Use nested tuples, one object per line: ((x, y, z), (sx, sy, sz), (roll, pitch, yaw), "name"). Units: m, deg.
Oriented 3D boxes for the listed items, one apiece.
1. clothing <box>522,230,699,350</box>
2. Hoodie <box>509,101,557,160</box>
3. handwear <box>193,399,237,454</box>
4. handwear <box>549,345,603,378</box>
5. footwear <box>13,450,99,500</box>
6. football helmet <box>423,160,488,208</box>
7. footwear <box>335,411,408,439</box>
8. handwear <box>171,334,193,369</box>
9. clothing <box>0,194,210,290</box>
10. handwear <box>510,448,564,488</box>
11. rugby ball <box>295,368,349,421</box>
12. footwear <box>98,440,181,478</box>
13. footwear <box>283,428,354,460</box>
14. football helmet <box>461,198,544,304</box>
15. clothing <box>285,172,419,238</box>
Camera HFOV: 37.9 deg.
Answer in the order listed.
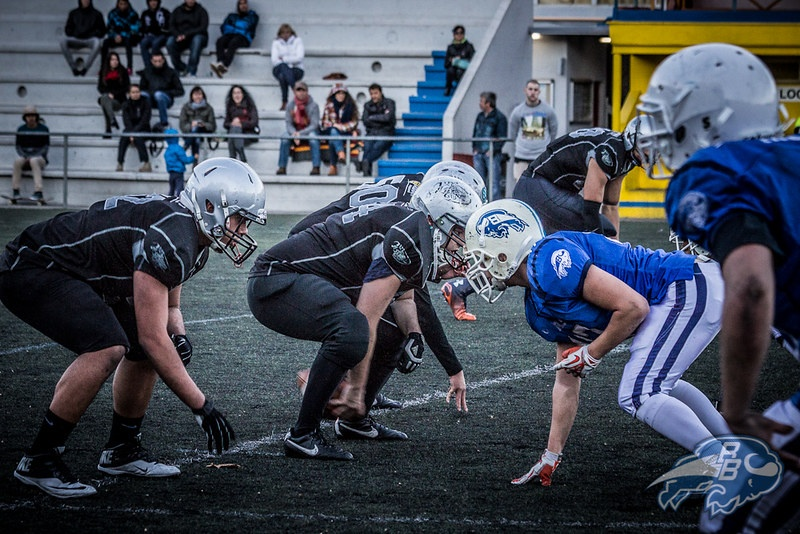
((1.186, 0.065, 6.829), (0.846, 0.502, 0.634), (-19, 7, 21), "clothing")
((1.683, -1.739, 14.674), (0.592, 0.721, 0.447), (0, 11, 6), "Hoodie")
((-1.104, 0.965, 6.819), (0.206, 0.117, 0.401), (10, 29, -15), "handwear")
((1.020, 0.556, 6.697), (0.233, 0.108, 0.150), (-24, 51, 7), "handwear")
((-1.992, 1.178, 6.732), (0.513, 0.249, 0.191), (13, -5, 14), "footwear")
((0.400, -0.643, 8.038), (0.387, 0.344, 0.320), (30, 11, 12), "football helmet")
((-0.203, 1.002, 7.524), (0.521, 0.209, 0.168), (1, -2, 2), "footwear")
((-1.337, 0.507, 7.209), (0.177, 0.178, 0.141), (-15, -13, 42), "handwear")
((-1.684, -0.142, 6.782), (0.858, 0.366, 0.618), (2, 4, -2), "clothing")
((0.798, 1.179, 6.839), (0.309, 0.195, 0.109), (-5, -19, 34), "handwear")
((-0.565, 0.802, 7.636), (0.295, 0.398, 0.146), (29, 44, 3), "rugby ball")
((-1.589, 1.153, 7.057), (0.573, 0.266, 0.190), (3, -1, -4), "footwear")
((-0.520, 1.088, 7.228), (0.465, 0.195, 0.168), (3, -5, -6), "footwear")
((0.615, -0.131, 7.033), (0.542, 0.548, 0.395), (-14, 3, 12), "football helmet")
((-0.283, -0.474, 8.007), (0.666, 0.230, 0.473), (-22, 33, 10), "clothing")
